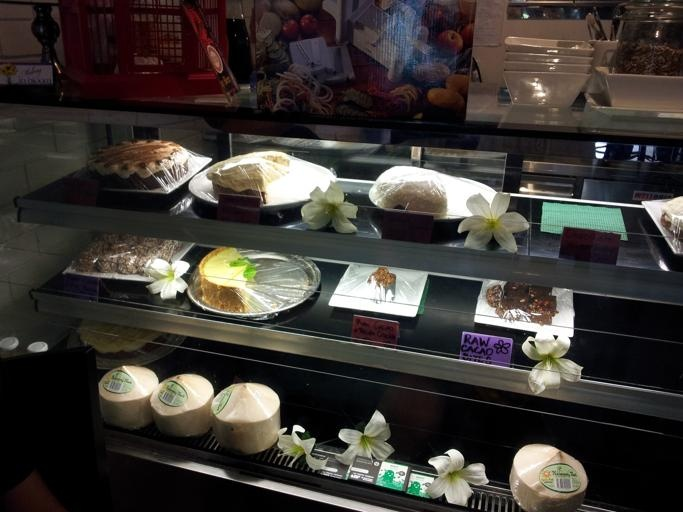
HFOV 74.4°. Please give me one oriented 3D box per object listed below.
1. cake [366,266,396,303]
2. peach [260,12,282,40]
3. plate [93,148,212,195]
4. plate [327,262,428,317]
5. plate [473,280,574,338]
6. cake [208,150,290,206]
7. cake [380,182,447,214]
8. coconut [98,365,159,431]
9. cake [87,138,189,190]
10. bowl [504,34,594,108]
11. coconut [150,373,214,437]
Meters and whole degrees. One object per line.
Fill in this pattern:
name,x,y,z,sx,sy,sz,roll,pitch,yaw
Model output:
cake,0.140,0.095,1.492,0.102,0.112,0.112,7,22,3
peach,-0.166,-0.571,1.118,0.056,0.067,0.056,-1,23,-5
plate,-0.531,-0.293,1.478,0.338,0.152,0.345,1,26,11
plate,0.127,0.115,1.443,0.204,0.080,0.185,12,27,32
plate,0.575,0.146,1.387,0.296,0.103,0.202,10,28,14
cake,-0.280,-0.242,1.343,0.221,0.094,0.240,6,27,7
cake,0.196,-0.158,1.207,0.174,0.064,0.098,6,27,7
coconut,-0.722,0.461,1.611,0.229,0.201,0.231,-6,34,-21
cake,-0.600,-0.307,1.471,0.300,0.155,0.291,-1,27,3
bowl,0.502,-0.439,1.107,0.196,0.145,0.088,15,30,23
coconut,-0.534,0.500,1.510,0.186,0.187,0.191,7,25,23
